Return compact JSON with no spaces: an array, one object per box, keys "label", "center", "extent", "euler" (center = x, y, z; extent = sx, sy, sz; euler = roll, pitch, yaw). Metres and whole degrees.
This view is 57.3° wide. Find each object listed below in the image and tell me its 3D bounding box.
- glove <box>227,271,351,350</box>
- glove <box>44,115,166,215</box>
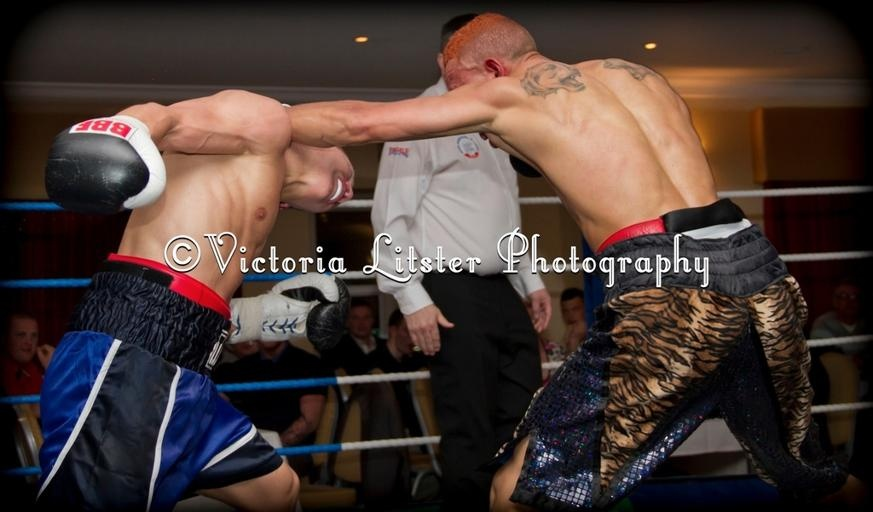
[{"label":"glove","center":[-0.688,0.262,3.824],"extent":[0.563,0.293,0.241],"euler":[-8,-21,-8]},{"label":"glove","center":[-1.422,-0.386,3.426],"extent":[0.417,0.468,0.229],"euler":[0,-48,-2]}]
